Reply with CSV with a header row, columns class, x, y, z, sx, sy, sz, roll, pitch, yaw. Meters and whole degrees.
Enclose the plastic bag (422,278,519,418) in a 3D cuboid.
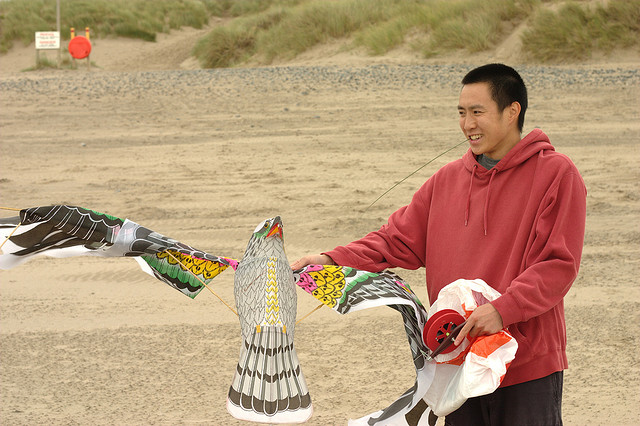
class,x,y,z,sx,sy,sz,roll,pitch,yaw
plastic bag,2.262,1.997,19.396,1.251,2.087,1.230,-1,-2,-2
